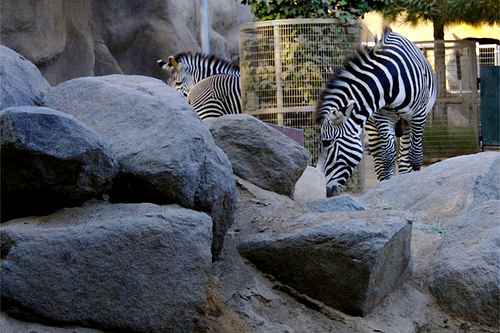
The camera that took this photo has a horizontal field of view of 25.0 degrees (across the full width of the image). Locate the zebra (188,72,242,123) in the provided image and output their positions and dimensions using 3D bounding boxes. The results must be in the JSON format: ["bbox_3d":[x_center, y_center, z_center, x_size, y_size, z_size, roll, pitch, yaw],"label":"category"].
[{"bbox_3d":[-0.676,-1.321,21.688,0.993,0.759,1.099,2,11,-2],"label":"zebra"}]

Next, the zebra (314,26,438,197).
[{"bbox_3d":[2.250,-0.990,20.617,1.300,3.027,4.735,6,12,28],"label":"zebra"}]
